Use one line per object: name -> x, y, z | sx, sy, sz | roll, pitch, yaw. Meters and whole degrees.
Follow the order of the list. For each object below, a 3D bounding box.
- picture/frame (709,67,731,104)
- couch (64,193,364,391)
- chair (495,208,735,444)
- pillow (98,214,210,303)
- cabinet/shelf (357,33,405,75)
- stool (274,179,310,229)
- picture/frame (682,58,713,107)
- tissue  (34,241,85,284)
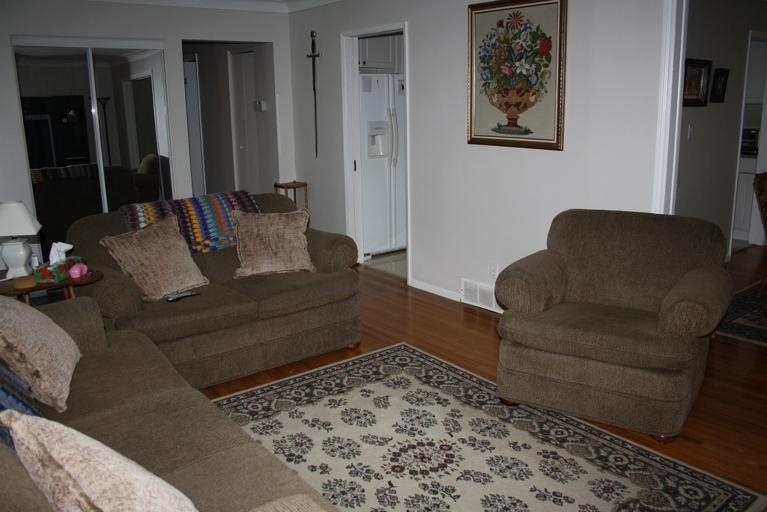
picture/frame -> 3.664, -1.869, 5.977 | 0.269, 0.350, 0.029 | -7, 17, -28
couch -> -1.306, 0.222, 4.478 | 2.117, 1.242, 1.215 | -13, 22, -41
chair -> 1.635, 0.533, 4.011 | 1.585, 1.265, 1.506 | 11, 19, 34
pillow -> -1.713, 0.006, 4.193 | 0.459, 0.536, 0.636 | 11, 22, 37
cabinet/shelf -> -0.035, -2.416, 6.516 | 0.669, 0.446, 0.207 | -18, 23, -41
stool -> -1.205, -0.634, 7.098 | 0.445, 0.611, 0.446 | -1, 13, 4
picture/frame -> 3.266, -1.811, 5.696 | 0.511, 0.488, 0.118 | -18, 24, -41
tissue  -> -2.378, 0.018, 3.980 | 0.340, 0.256, 0.335 | 11, 14, -7
